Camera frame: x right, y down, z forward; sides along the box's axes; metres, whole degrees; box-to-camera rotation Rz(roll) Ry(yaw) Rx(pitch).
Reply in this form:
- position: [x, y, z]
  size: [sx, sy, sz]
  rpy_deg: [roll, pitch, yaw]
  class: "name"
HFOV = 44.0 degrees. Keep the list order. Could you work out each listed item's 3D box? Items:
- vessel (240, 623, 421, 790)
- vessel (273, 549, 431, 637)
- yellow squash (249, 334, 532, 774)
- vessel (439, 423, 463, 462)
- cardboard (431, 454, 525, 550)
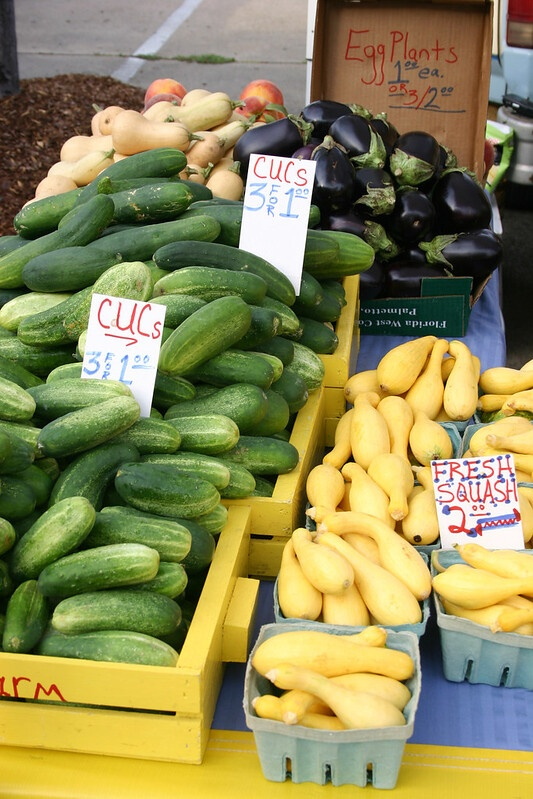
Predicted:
- position: [0.125, 0.584, 1.258]
  size: [0.323, 0.221, 0.297]
  rpy_deg: [3, 15, 10]
  class: "vessel"
- position: [0.190, 0.440, 1.450]
  size: [0.289, 0.115, 0.214]
  rpy_deg: [0, 23, 7]
  class: "vessel"
- position: [0.341, 0.240, 1.966]
  size: [0.571, 0.327, 1.090]
  rpy_deg: [0, 41, 14]
  class: "yellow squash"
- position: [0.622, 0.131, 2.210]
  size: [0.083, 0.044, 0.125]
  rpy_deg: [6, 56, 8]
  class: "vessel"
- position: [0.546, 0.273, 1.711]
  size: [0.200, 0.267, 0.013]
  rpy_deg: [-10, -14, 9]
  class: "cardboard"
